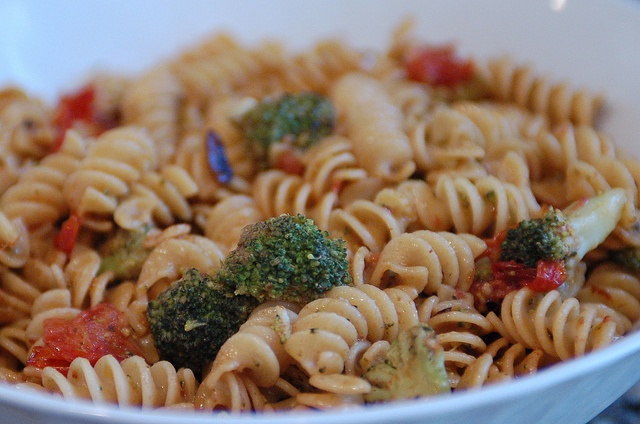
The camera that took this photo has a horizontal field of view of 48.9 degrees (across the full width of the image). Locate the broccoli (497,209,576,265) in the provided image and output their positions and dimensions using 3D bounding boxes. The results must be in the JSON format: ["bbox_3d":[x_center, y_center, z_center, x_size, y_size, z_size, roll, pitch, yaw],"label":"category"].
[{"bbox_3d":[0.834,0.116,2.692,0.180,0.091,0.235,17,79,18],"label":"broccoli"}]

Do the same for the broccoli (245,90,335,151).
[{"bbox_3d":[-0.136,-0.418,3.247,0.334,0.154,0.261,-3,76,7],"label":"broccoli"}]

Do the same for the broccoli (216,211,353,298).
[{"bbox_3d":[-0.132,0.195,2.682,0.500,0.199,0.239,4,38,-7],"label":"broccoli"}]
